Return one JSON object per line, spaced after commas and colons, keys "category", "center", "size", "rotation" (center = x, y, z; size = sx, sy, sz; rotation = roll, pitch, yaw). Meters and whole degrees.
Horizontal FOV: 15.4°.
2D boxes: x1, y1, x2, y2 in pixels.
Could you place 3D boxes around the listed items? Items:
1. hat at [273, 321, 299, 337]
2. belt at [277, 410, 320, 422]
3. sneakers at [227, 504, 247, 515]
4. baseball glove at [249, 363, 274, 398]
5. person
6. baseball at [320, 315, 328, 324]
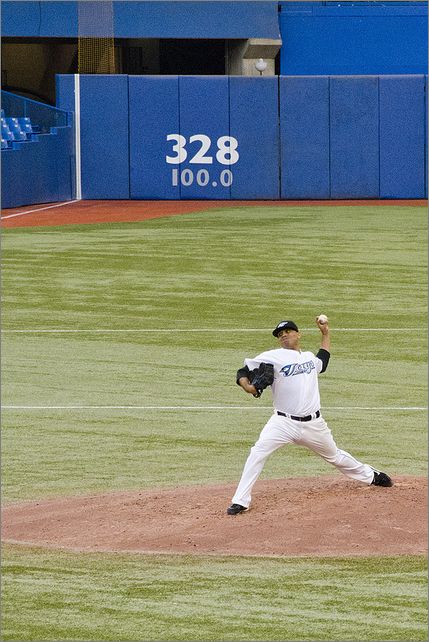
{"category": "hat", "center": [0.570, 0.046, 11.834], "size": [0.103, 0.092, 0.159], "rotation": [-15, -11, 20]}
{"category": "belt", "center": [0.647, 0.715, 11.748], "size": [0.329, 0.074, 0.108], "rotation": [1, 5, 4]}
{"category": "sneakers", "center": [0.183, 1.405, 11.669], "size": [0.059, 0.079, 0.170], "rotation": [0, -4, 23]}
{"category": "baseball glove", "center": [0.371, 0.433, 11.611], "size": [0.156, 0.257, 0.083], "rotation": [8, -3, 39]}
{"category": "person", "center": [0.723, 0.664, 11.893], "size": [1.284, 1.575, 0.408], "rotation": [0, -8, -19]}
{"category": "baseball", "center": [0.855, -0.010, 11.969], "size": [0.053, 0.053, 0.068], "rotation": [31, 4, -11]}
